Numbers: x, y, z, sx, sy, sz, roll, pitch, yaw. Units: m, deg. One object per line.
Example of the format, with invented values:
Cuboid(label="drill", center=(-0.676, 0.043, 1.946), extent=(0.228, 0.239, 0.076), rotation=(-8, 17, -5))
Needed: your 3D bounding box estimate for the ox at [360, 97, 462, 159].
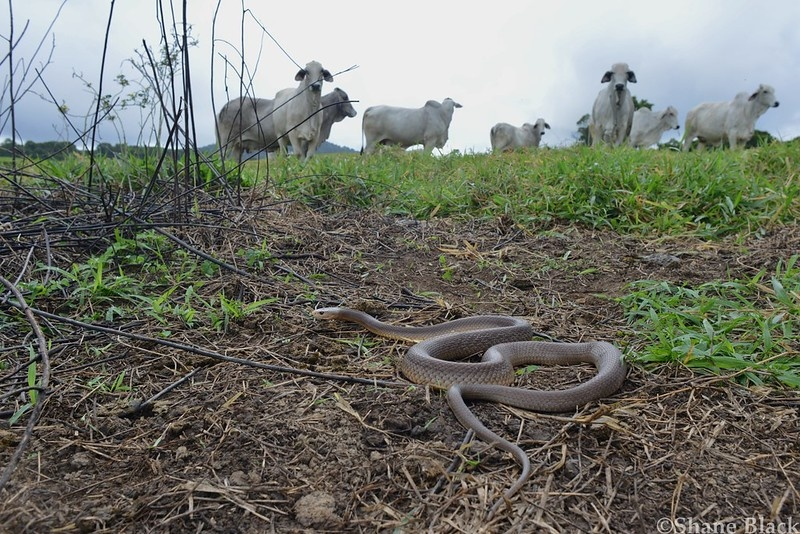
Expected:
Cuboid(label="ox", center=(0.443, -4.899, 20.196), extent=(4.159, 2.310, 1.339), rotation=(-6, 12, -17))

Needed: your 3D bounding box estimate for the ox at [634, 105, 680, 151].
Cuboid(label="ox", center=(9.193, -5.144, 20.428), extent=(0.851, 1.304, 1.849), rotation=(-1, 15, -18))

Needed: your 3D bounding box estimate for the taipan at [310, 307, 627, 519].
Cuboid(label="taipan", center=(0.674, 0.851, 4.776), extent=(1.996, 0.530, 1.494), rotation=(16, 19, 42))
